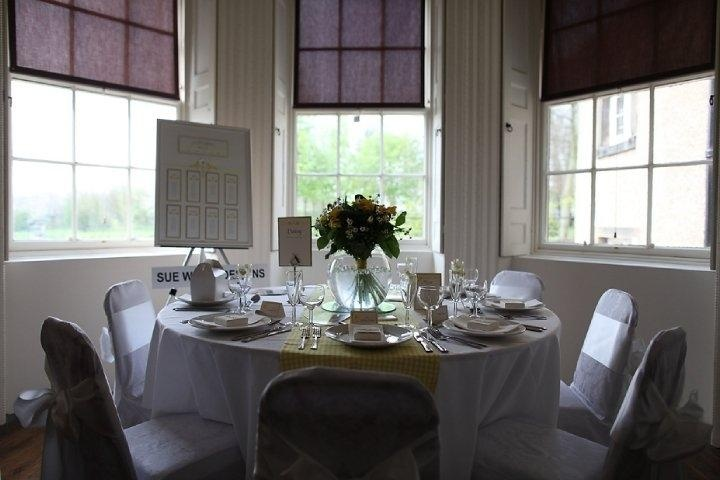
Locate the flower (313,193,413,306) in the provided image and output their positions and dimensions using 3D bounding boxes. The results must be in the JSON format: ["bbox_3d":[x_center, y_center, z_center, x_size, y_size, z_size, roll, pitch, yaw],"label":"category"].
[{"bbox_3d":[0.040,0.095,3.478,0.620,0.750,0.639,-2,-2,26],"label":"flower"}]

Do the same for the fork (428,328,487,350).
[{"bbox_3d":[0.541,0.548,2.807,0.051,0.048,0.308,-24,17,-33],"label":"fork"}]

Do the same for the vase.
[{"bbox_3d":[-0.031,0.219,3.380,0.464,0.436,0.522,0,4,-2],"label":"vase"}]
